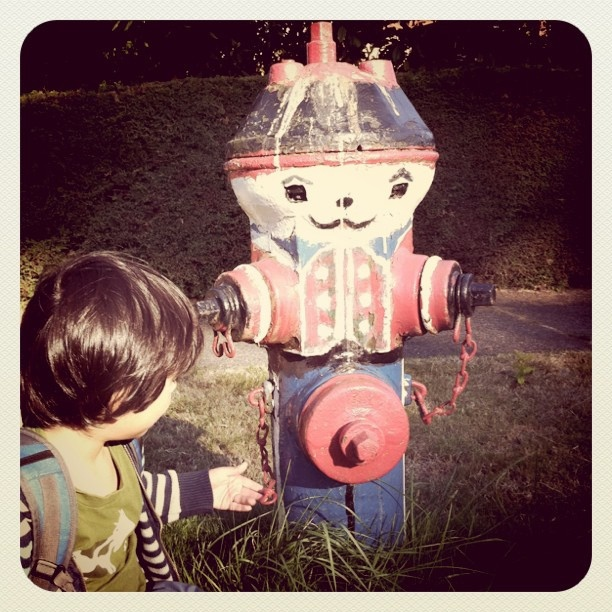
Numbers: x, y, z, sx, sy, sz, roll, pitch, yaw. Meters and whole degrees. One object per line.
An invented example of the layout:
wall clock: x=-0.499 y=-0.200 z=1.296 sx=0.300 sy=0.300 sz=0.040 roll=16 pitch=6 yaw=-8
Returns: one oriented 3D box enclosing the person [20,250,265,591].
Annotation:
person: x=-0.451 y=0.343 z=3.018 sx=0.908 sy=0.908 sz=1.615 roll=-2 pitch=96 yaw=-2
